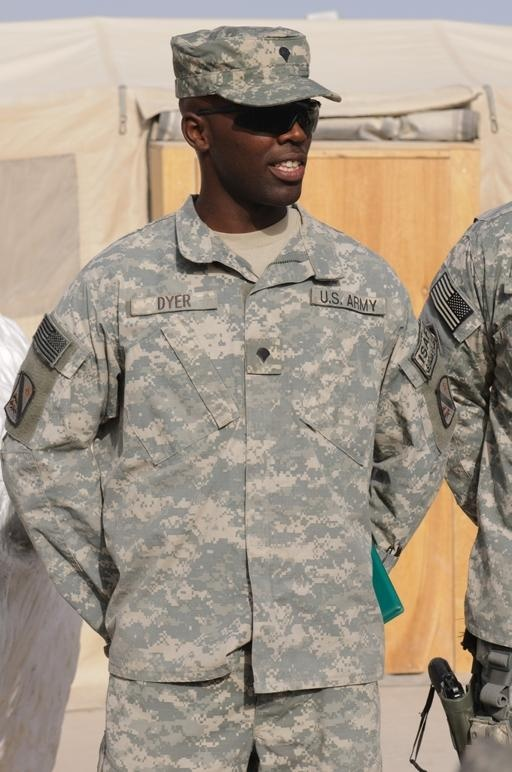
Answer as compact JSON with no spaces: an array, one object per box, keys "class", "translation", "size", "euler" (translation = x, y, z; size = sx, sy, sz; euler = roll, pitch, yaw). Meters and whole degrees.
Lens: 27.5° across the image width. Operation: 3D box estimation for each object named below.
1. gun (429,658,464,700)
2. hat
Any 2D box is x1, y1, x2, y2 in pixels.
[{"class":"gun","translation":[0.425,0.673,2.354],"size":[0.042,0.049,0.119],"euler":[-23,28,4]},{"class":"hat","translation":[-0.009,-0.545,1.787],"size":[0.239,0.087,0.174],"euler":[11,17,35]}]
